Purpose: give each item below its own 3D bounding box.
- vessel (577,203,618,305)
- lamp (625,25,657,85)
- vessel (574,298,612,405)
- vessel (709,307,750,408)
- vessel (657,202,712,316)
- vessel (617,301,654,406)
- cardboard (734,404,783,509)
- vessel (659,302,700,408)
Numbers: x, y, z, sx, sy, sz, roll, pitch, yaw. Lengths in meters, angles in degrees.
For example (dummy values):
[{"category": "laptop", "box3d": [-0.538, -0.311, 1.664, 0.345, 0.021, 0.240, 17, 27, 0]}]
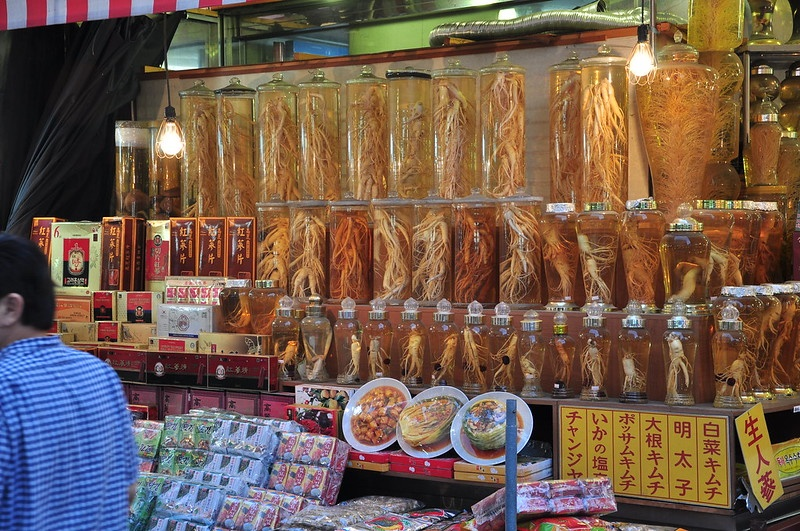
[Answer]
[{"category": "vessel", "box3d": [1.040, -0.065, 3.745, 0.209, 0.537, 0.157, 3, 0, -37]}, {"category": "lamp", "box3d": [1.341, -1.208, 3.914, 0.150, 0.335, 0.432, 3, 0, 18]}, {"category": "vessel", "box3d": [0.977, 0.426, 3.558, 0.142, 0.474, 0.159, 3, 0, 15]}, {"category": "vessel", "box3d": [1.602, 0.428, 3.404, 0.168, 0.483, 0.200, 3, 0, 14]}, {"category": "vessel", "box3d": [1.436, -0.009, 3.539, 0.260, 0.499, 0.164, 3, 0, 8]}, {"category": "vessel", "box3d": [1.162, 0.421, 3.497, 0.148, 0.484, 0.160, 3, 0, 20]}, {"category": "cardboard", "box3d": [1.674, 0.907, 3.311, 0.027, 0.514, 0.388, -9, 16, 41]}, {"category": "vessel", "box3d": [1.349, 0.418, 3.394, 0.160, 0.495, 0.091, 3, 0, 13]}]
